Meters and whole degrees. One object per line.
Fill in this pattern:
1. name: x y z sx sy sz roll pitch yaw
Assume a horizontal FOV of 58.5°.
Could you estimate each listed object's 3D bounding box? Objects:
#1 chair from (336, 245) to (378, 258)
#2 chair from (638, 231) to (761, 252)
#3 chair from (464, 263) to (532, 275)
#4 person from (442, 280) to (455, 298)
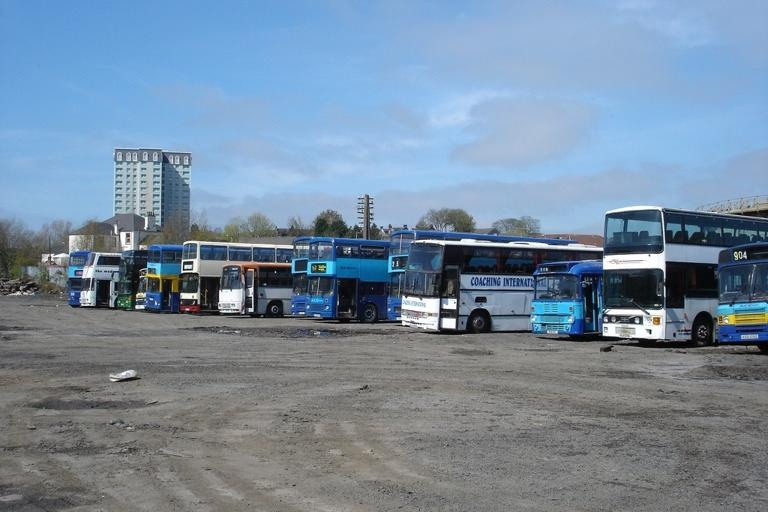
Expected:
1. chair: -1.542 -0.285 39.790 2.920 0.836 0.765 2 -4 -25
2. chair: 11.811 -0.552 26.134 3.119 0.868 0.827 2 -3 -22
3. chair: 5.546 0.596 32.040 3.085 0.468 0.329 -2 3 -25
4. person: 2.944 1.443 30.756 0.464 0.858 0.713 3 1 14
